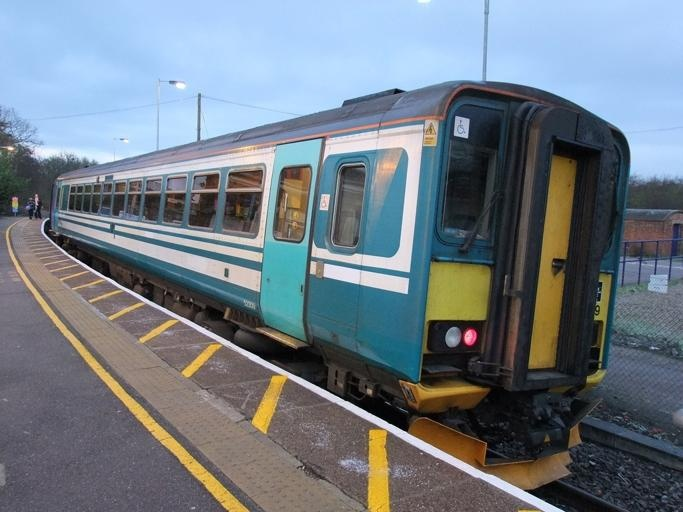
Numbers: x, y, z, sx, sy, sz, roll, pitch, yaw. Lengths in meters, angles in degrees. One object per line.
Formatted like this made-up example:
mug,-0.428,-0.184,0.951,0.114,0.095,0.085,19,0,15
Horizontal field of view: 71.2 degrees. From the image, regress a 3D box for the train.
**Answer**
train,-0.196,-0.175,7.015,2.072,4.139,6.994,-12,17,-43
